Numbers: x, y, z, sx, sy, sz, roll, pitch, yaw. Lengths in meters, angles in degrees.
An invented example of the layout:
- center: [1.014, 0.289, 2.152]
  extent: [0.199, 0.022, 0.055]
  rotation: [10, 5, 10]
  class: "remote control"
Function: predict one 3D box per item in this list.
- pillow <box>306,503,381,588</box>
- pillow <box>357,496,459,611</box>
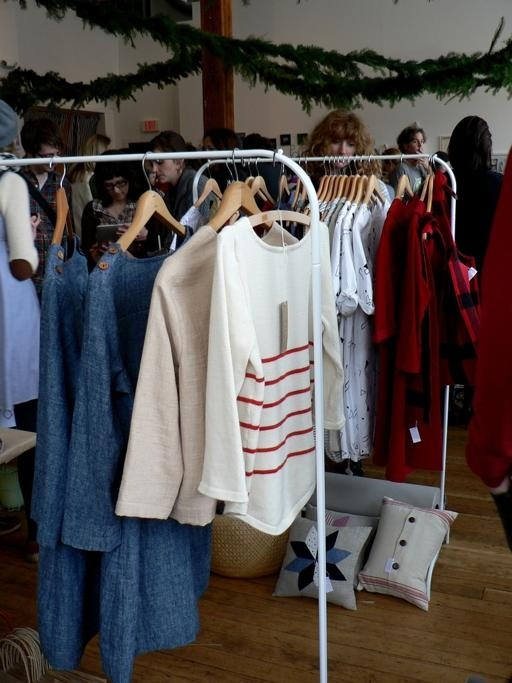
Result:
- center: [0.331, 0.747, 2.105]
  extent: [0.211, 0.088, 0.235]
  rotation: [-2, 61, 39]
  class: "pillow"
- center: [0.523, 0.704, 1.979]
  extent: [0.267, 0.106, 0.340]
  rotation: [10, 67, 40]
  class: "pillow"
